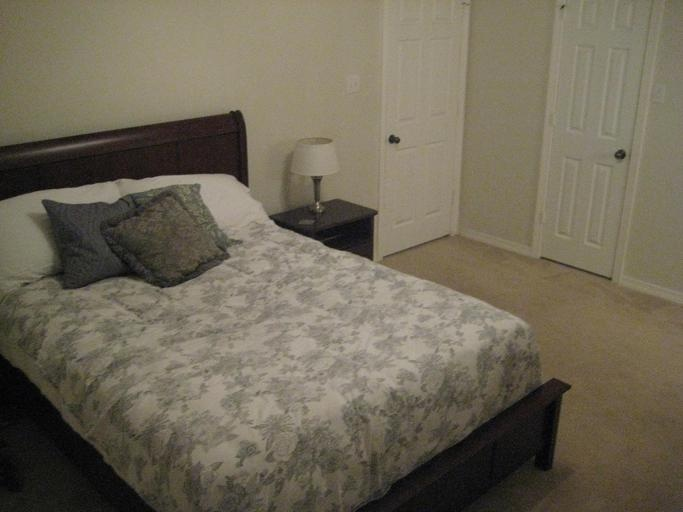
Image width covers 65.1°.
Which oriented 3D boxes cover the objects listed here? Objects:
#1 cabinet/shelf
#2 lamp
[{"bbox_3d":[-0.095,-0.217,4.001,0.437,0.463,0.584,19,29,39],"label":"cabinet/shelf"},{"bbox_3d":[-0.191,-0.576,3.977,0.359,0.520,0.369,8,19,27],"label":"lamp"}]
